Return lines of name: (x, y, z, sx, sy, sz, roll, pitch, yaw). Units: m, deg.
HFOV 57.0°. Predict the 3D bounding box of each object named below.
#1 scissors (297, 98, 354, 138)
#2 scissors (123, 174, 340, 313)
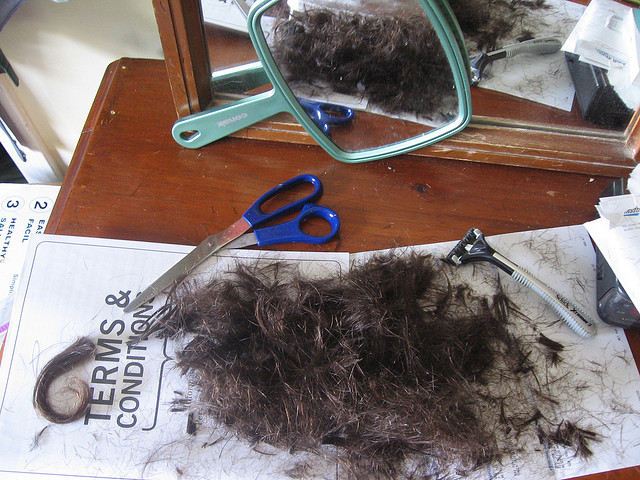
scissors: (0.008, -0.172, 0.841, 0.077, 0.046, 0.024, 5, 64, 1)
scissors: (-0.123, 0.015, 0.815, 0.328, 0.024, 0.122, -29, 58, -23)
